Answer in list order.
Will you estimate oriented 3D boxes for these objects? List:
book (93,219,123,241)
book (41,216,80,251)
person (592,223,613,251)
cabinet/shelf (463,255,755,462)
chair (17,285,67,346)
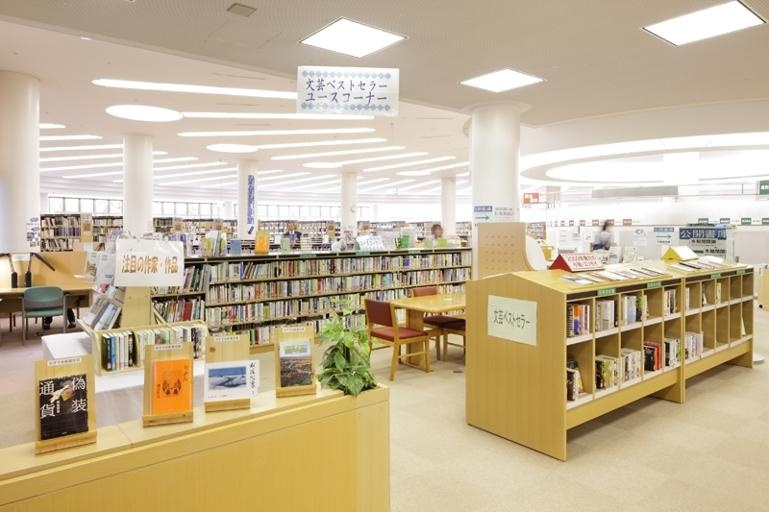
[{"bbox_3d":[-7.659,-0.710,15.193,0.324,0.839,0.914,-2,0,34],"label":"book"},{"bbox_3d":[-9.650,-0.669,16.395,1.046,0.956,0.354,1,-5,-33],"label":"book"},{"bbox_3d":[4.105,-0.389,10.563,0.359,0.540,1.377,-1,4,20],"label":"person"},{"bbox_3d":[3.547,1.002,8.012,4.955,1.930,1.544,-5,5,-34],"label":"cabinet/shelf"},{"bbox_3d":[-6.532,1.110,10.774,1.047,1.363,0.967,-1,1,-33],"label":"chair"}]
